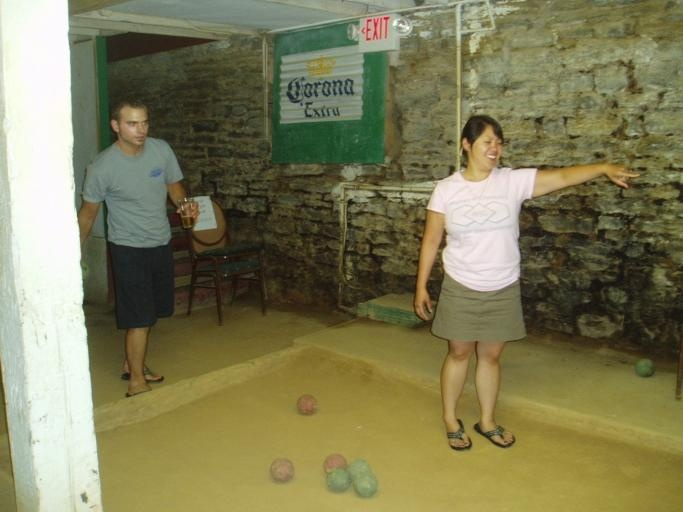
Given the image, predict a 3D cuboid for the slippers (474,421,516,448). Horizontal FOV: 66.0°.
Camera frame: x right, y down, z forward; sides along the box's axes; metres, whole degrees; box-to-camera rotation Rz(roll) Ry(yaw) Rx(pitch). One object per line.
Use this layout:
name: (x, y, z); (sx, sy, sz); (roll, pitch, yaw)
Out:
slippers: (1.108, 1.301, 3.812); (0.134, 0.060, 0.230); (-23, 27, -36)

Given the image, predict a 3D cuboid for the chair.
chair: (-1.487, 0.015, 6.654); (1.042, 1.251, 0.930); (5, 11, 17)

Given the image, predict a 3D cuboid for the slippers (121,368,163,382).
slippers: (-1.823, 1.095, 4.772); (0.406, 0.088, 0.139); (0, 3, 9)

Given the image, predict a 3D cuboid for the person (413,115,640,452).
person: (1.026, 0.223, 3.581); (1.038, 2.293, 0.460); (-2, 16, 5)
